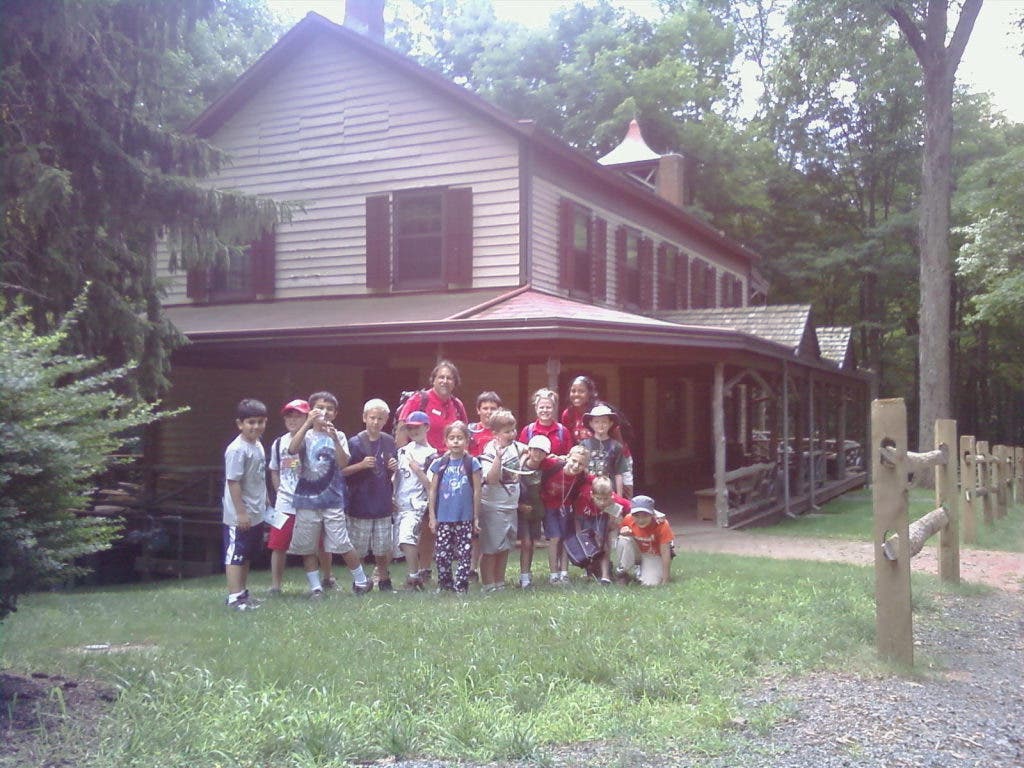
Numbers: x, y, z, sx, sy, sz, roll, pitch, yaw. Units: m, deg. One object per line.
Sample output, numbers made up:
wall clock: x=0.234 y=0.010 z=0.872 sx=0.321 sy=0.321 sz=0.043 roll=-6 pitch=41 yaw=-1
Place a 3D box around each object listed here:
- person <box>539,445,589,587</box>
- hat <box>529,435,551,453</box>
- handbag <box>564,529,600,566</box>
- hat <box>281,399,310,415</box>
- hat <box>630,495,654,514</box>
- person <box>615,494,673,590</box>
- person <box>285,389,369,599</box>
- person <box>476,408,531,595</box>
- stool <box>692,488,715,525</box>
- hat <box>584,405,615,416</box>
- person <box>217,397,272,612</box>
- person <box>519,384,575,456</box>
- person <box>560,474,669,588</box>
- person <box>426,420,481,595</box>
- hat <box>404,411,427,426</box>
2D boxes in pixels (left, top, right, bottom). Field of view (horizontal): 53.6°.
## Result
person: x=0.547 y=1.315 z=10.261 sx=0.448 sy=1.366 sz=0.788 roll=1 pitch=-7 yaw=-22
hat: x=0.273 y=0.593 z=10.109 sx=0.221 sy=0.184 sz=0.293 roll=-1 pitch=-7 yaw=1
handbag: x=0.695 y=1.676 z=10.300 sx=0.346 sy=0.407 sz=0.265 roll=15 pitch=-18 yaw=-22
hat: x=-2.523 y=0.252 z=11.854 sx=0.197 sy=0.156 sz=0.300 roll=-2 pitch=-10 yaw=6
hat: x=1.336 y=1.237 z=10.402 sx=0.252 sy=0.178 sz=0.396 roll=-2 pitch=-7 yaw=6
person: x=1.382 y=1.602 z=10.373 sx=0.613 sy=0.928 sz=0.607 roll=1 pitch=2 yaw=-30
person: x=-1.803 y=1.076 z=9.891 sx=0.695 sy=1.960 sz=0.663 roll=0 pitch=-6 yaw=-14
person: x=-0.105 y=1.139 z=10.085 sx=0.454 sy=1.759 sz=0.566 roll=-1 pitch=-6 yaw=-2
stool: x=3.245 y=2.032 z=16.941 sx=0.522 sy=0.578 sz=0.431 roll=-1 pitch=-5 yaw=13
hat: x=0.913 y=0.260 z=10.417 sx=0.268 sy=0.155 sz=0.217 roll=-2 pitch=-7 yaw=6
person: x=-2.559 y=1.127 z=9.811 sx=0.413 sy=2.021 sz=0.609 roll=1 pitch=-6 yaw=-15
person: x=0.340 y=0.516 z=10.376 sx=0.539 sy=0.851 sz=0.294 roll=0 pitch=-24 yaw=1
person: x=1.121 y=1.449 z=10.494 sx=1.043 sy=1.166 sz=0.794 roll=3 pitch=17 yaw=13
person: x=-0.604 y=1.204 z=9.914 sx=0.414 sy=1.647 sz=0.566 roll=4 pitch=-7 yaw=-38
hat: x=-0.961 y=0.341 z=10.273 sx=0.234 sy=0.160 sz=0.222 roll=-1 pitch=-7 yaw=-6
